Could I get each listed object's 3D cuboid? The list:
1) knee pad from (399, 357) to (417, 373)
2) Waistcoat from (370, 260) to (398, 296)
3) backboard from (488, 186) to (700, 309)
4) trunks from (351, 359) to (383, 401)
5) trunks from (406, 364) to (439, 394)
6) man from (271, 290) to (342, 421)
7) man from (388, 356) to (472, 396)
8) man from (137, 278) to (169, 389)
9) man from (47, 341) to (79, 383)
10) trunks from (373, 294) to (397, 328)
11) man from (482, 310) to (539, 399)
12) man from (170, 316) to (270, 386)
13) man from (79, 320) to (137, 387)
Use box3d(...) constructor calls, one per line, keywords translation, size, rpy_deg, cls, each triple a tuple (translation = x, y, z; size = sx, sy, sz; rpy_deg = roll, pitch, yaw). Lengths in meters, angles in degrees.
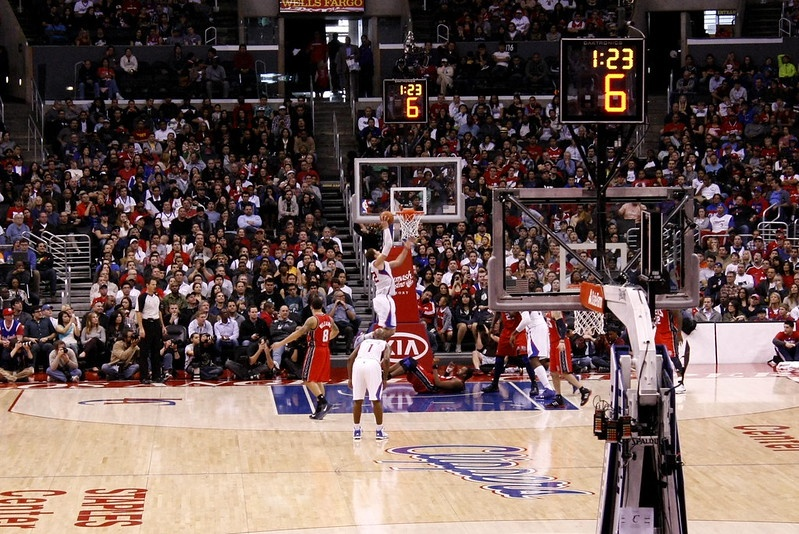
box3d(translation=(0.178, 1.963, 18.547), size=(0.362, 0.278, 0.122), rpy_deg=(0, 7, 1), cls="knee pad")
box3d(translation=(-0.234, 0.227, 17.224), size=(0.521, 0.973, 0.760), rpy_deg=(-2, 2, -8), cls="Waistcoat")
box3d(translation=(2.539, -0.264, 11.920), size=(2.685, 1.703, 0.312), rpy_deg=(-1, 23, 4), cls="backboard")
box3d(translation=(-0.535, 1.857, 15.159), size=(0.486, 0.688, 0.377), rpy_deg=(-1, 7, -4), cls="trunks")
box3d(translation=(0.435, 2.294, 18.856), size=(0.580, 0.666, 0.427), rpy_deg=(-5, 9, -34), cls="trunks")
box3d(translation=(-1.649, 1.642, 16.519), size=(1.145, 2.291, 0.856), rpy_deg=(1, 0, -37), cls="man")
box3d(translation=(0.523, 2.318, 19.120), size=(2.010, 0.749, 0.958), rpy_deg=(8, -15, 1), cls="man")
box3d(translation=(-5.390, 1.362, 19.818), size=(0.514, 2.287, 0.582), rpy_deg=(-2, 8, -9), cls="man")
box3d(translation=(-7.277, 2.047, 19.932), size=(0.681, 0.961, 0.672), rpy_deg=(1, 5, 4), cls="man")
box3d(translation=(-0.287, 0.827, 17.154), size=(0.382, 0.644, 0.466), rpy_deg=(-1, 7, -6), cls="trunks")
box3d(translation=(2.180, 1.418, 17.864), size=(1.075, 2.324, 0.687), rpy_deg=(1, 18, 11), cls="man")
box3d(translation=(-3.824, 1.771, 20.109), size=(2.046, 1.452, 0.989), rpy_deg=(0, 7, 6), cls="man")
box3d(translation=(-6.097, 1.911, 20.058), size=(0.870, 1.135, 0.460), rpy_deg=(1, 8, 12), cls="man")
